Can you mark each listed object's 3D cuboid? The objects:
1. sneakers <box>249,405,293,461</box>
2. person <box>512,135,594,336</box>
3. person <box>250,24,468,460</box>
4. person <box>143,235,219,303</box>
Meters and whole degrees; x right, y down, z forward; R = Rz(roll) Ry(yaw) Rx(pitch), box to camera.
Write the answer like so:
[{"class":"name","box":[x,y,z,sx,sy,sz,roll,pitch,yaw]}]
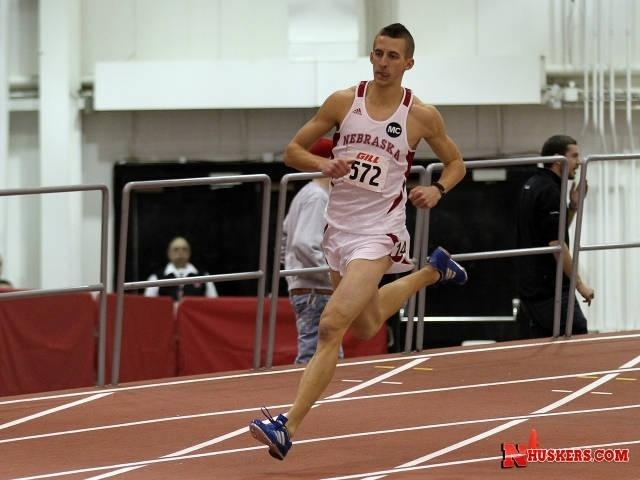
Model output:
[{"class":"sneakers","box":[-0.324,1.316,6.998,0.268,0.259,0.159,1,0,-5]},{"class":"person","box":[2.012,-0.029,8.991,0.609,1.793,0.536,0,0,10]},{"class":"person","box":[0.278,-0.035,7.432,1.549,2.144,0.461,1,0,-24]},{"class":"person","box":[-1.491,0.297,10.989,0.566,1.033,0.313,-1,-34,-7]}]
